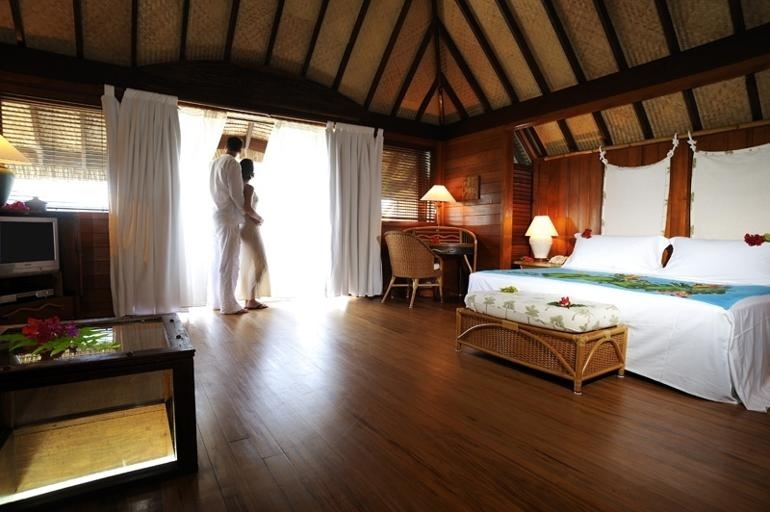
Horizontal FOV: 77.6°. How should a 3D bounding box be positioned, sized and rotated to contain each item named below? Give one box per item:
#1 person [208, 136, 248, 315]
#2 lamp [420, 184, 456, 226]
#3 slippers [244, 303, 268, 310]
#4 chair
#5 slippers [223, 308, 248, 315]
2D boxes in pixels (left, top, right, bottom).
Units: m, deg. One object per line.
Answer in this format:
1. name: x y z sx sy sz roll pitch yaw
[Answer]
1. person: -1.723 -0.337 5.195 0.421 1.902 0.526 -4 12 -19
2. lamp: 0.735 -0.631 6.571 0.443 0.681 0.517 7 13 39
3. slippers: -1.474 0.583 5.476 0.224 0.054 0.087 -2 5 -25
4. chair: 0.328 0.122 5.889 0.634 0.822 0.631 0 0 35
5. slippers: -1.626 0.616 5.208 0.225 0.066 0.084 -1 2 -27
